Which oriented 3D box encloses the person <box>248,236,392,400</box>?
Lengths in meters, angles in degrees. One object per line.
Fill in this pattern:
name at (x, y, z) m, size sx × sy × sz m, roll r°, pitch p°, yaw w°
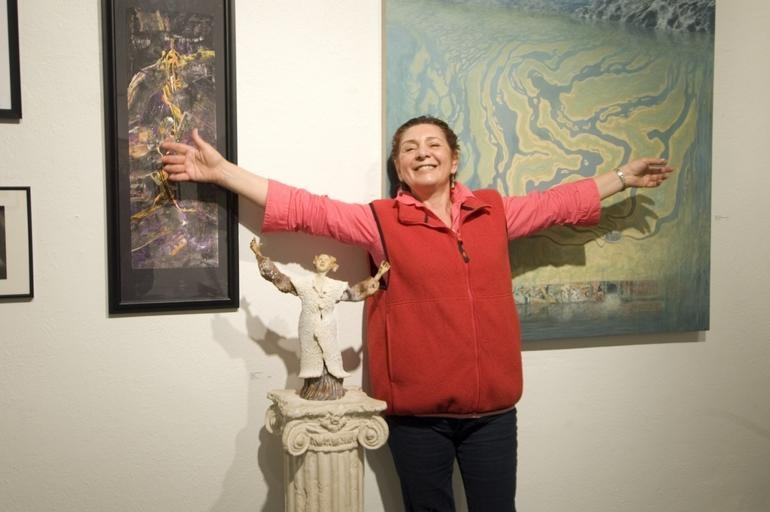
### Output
person at (-0.324, 0.280, 3.595) m, size 0.766 × 0.811 × 0.236 m, roll 1°, pitch -3°, yaw -23°
